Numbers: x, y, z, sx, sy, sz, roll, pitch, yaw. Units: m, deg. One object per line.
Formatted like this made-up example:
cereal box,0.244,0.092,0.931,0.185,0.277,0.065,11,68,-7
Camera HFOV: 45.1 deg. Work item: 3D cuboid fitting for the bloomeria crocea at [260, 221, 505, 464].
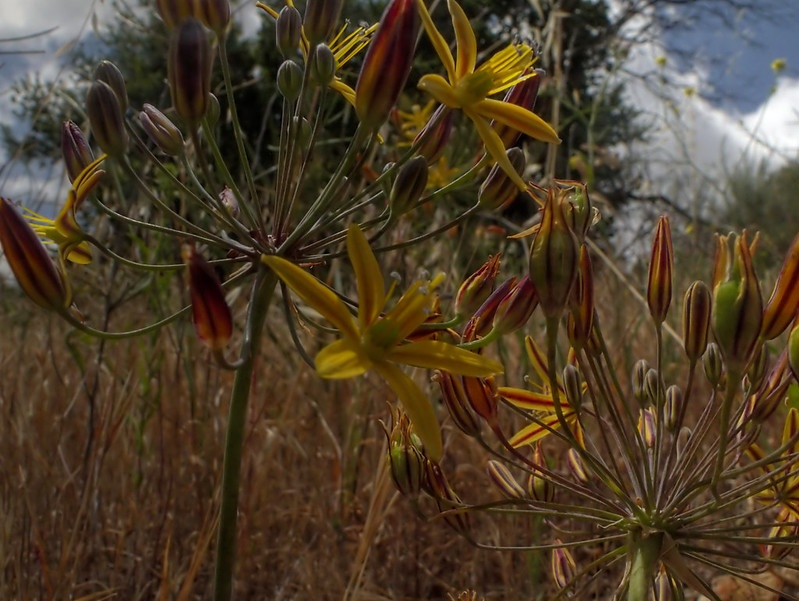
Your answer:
bloomeria crocea,-0.046,0.066,2.401,0.656,0.296,0.340,26,47,1

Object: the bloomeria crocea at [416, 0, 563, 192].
bloomeria crocea,0.205,-0.530,2.631,0.430,0.173,0.505,-10,78,-66
